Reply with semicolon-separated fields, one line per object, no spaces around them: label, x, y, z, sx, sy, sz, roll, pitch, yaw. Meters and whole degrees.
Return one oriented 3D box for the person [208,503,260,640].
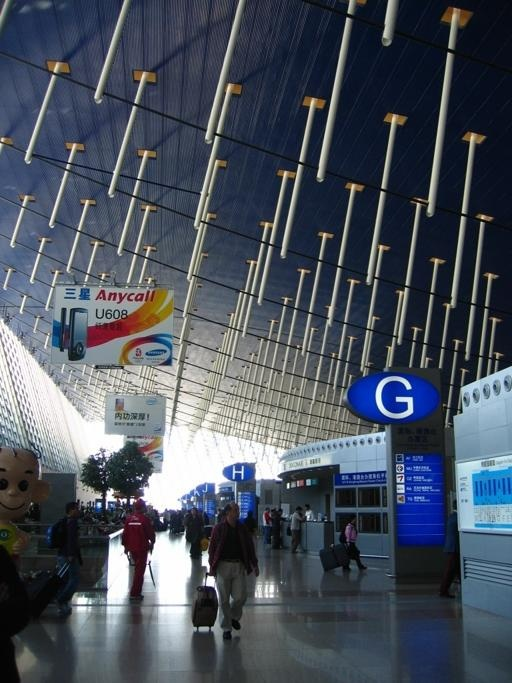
person;-0.327;2.989;6.788;0.672;1.620;0.553;12;-19;-27

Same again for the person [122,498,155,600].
person;-2.368;4.105;10.245;0.622;1.840;1.585;6;-17;-11

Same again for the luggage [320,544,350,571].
luggage;2.550;6.971;16.535;0.913;0.867;0.524;-14;-18;-3

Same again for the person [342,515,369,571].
person;3.411;7.093;18.115;0.698;1.579;3.512;-1;-17;12
